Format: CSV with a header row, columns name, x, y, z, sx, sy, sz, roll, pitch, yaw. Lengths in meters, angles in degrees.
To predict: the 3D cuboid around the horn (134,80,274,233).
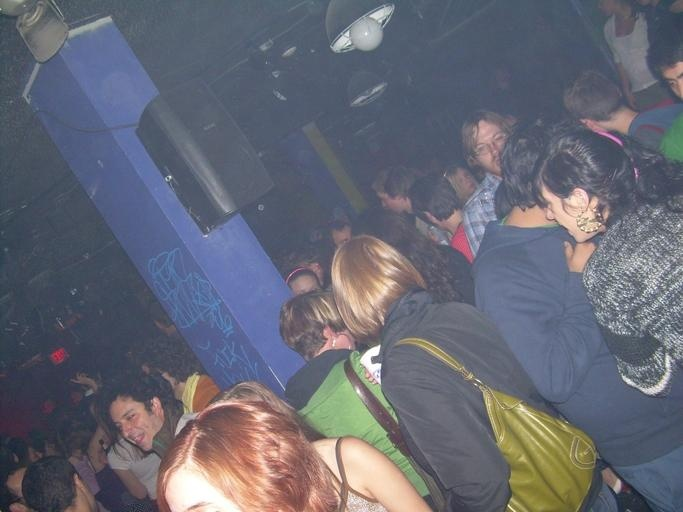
name,x,y,z,sx,sy,sz,roll,pitch,yaw
horn,-0.811,-0.557,3.752,0.669,0.923,0.455,-32,8,-18
